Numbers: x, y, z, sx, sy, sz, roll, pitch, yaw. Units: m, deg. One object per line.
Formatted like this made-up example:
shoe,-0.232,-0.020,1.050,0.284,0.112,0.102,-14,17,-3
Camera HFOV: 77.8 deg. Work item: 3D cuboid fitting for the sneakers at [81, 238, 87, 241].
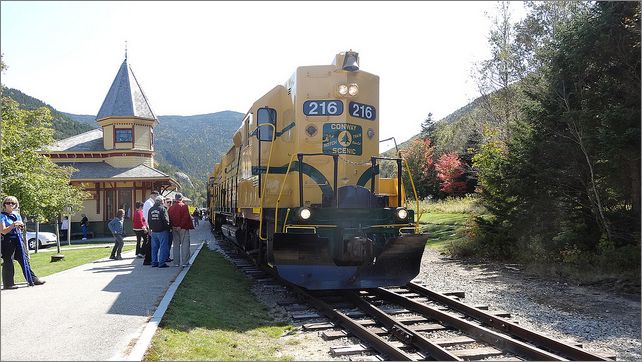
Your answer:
sneakers,-19.602,4.751,32.655,0.531,0.222,0.180,4,-5,-15

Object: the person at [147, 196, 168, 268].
person,-6.640,2.094,16.183,0.875,2.868,0.599,2,7,-5

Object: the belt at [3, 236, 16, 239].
belt,-10.529,1.902,13.440,0.350,0.114,0.054,-2,8,-39
